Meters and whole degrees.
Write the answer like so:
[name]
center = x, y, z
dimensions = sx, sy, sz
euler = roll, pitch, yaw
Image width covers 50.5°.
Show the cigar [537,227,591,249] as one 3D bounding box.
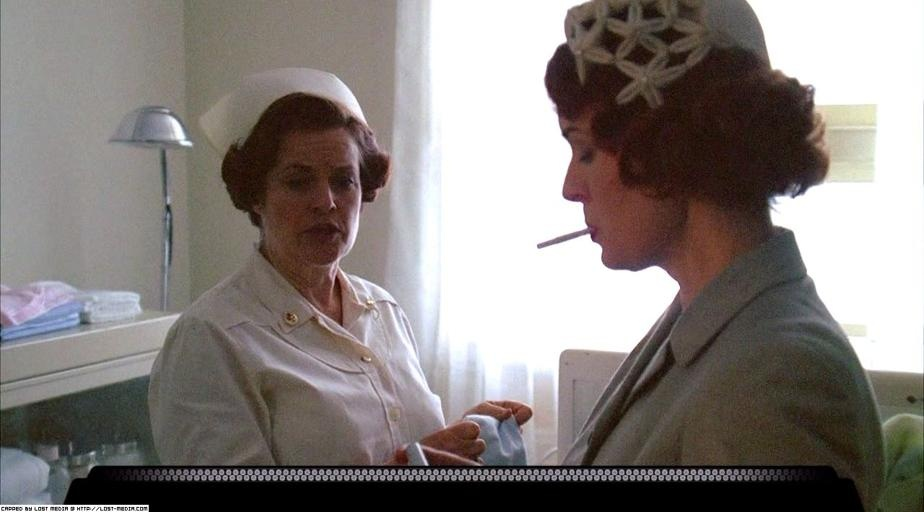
[cigar]
center = 0.200, -0.035, 1.870
dimensions = 0.108, 0.015, 0.017
euler = -14, -10, 25
